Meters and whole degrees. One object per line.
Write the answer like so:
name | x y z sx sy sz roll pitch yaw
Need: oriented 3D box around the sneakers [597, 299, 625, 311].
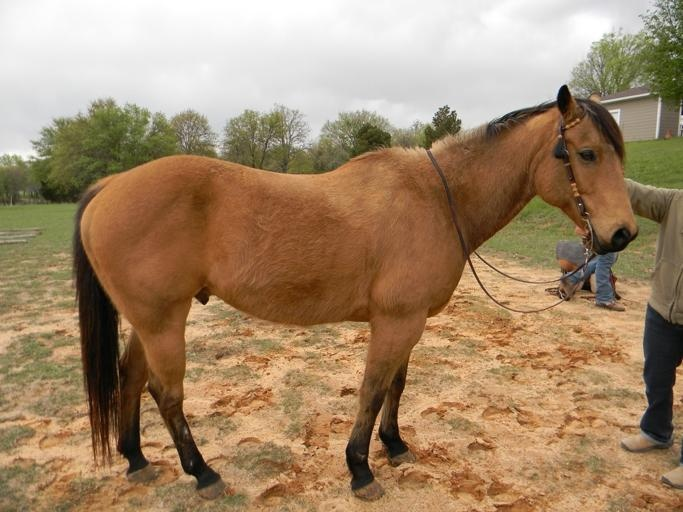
sneakers | 4.200 0.754 8.414 0.372 0.173 0.154 3 9 36

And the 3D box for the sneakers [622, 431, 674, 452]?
sneakers | 3.011 1.808 5.369 0.511 0.222 0.195 2 -4 6
